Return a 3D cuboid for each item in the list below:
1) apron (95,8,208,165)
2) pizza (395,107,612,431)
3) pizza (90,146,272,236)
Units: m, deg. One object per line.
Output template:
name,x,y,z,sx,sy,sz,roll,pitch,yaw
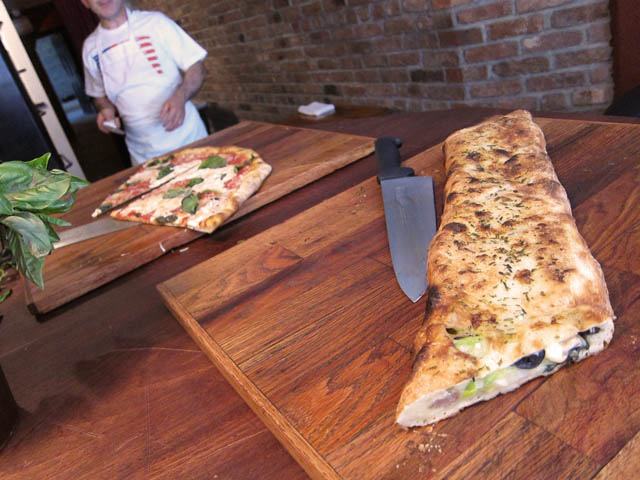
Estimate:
apron,-0.832,-0.651,2.370,0.391,0.952,0.267,-21,-6,10
pizza,0.290,0.015,0.814,0.282,0.077,0.578,-14,29,13
pizza,-0.362,-0.169,1.421,0.432,0.053,0.416,5,25,46
